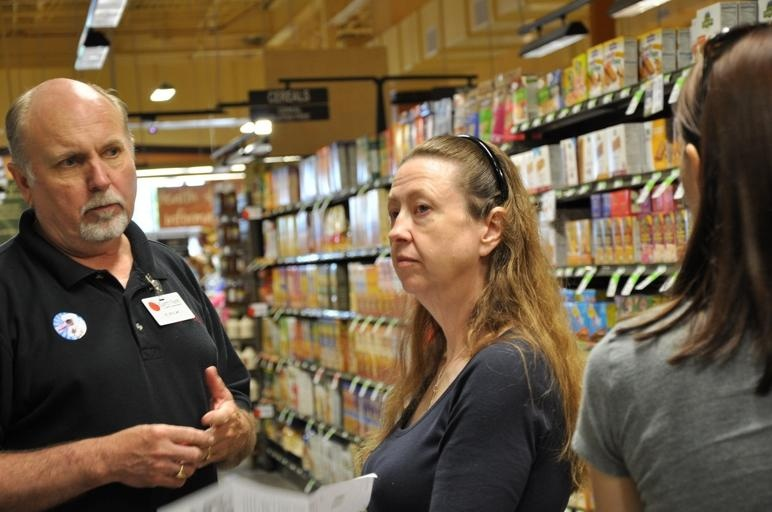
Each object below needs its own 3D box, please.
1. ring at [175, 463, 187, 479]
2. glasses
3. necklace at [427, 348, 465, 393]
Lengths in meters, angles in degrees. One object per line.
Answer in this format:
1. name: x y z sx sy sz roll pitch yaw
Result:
1. ring: -0.660 0.702 2.206 0.042 0.047 0.035 -9 -7 41
2. glasses: 0.721 -0.405 1.412 0.116 0.168 0.052 2 7 13
3. necklace: 0.173 0.366 2.138 0.036 0.156 0.093 24 43 -10
